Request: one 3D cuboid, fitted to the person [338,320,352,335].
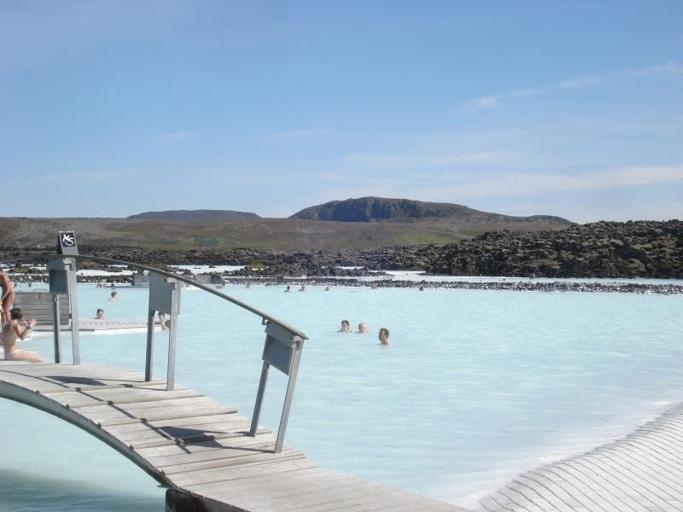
[{"bbox_3d":[0.117,2.543,30.192,0.471,0.478,0.820,-4,7,-1],"label":"person"}]

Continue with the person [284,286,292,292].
[{"bbox_3d":[-3.549,2.181,54.567,0.372,0.295,0.777,9,15,15],"label":"person"}]
